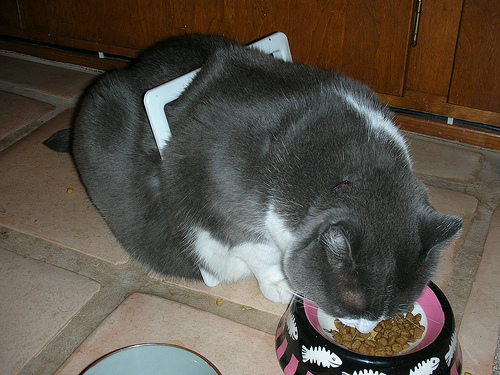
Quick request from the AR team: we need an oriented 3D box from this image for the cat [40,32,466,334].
[{"bbox_3d":[-0.073,0.029,1.281,0.652,0.471,1.080,-34,63,-31],"label":"cat"}]
